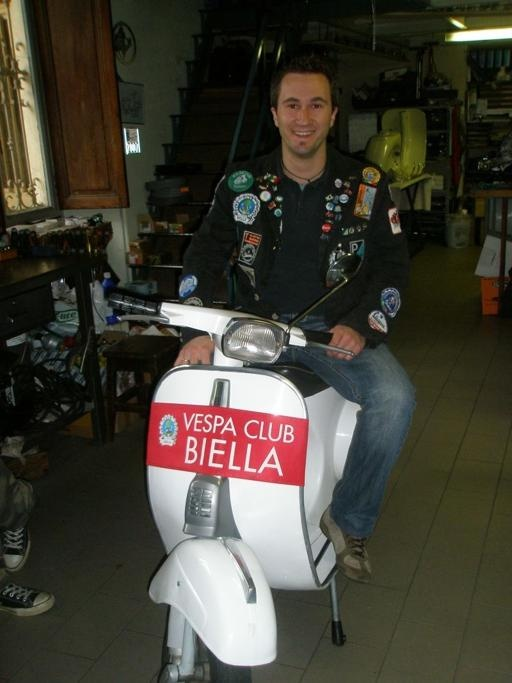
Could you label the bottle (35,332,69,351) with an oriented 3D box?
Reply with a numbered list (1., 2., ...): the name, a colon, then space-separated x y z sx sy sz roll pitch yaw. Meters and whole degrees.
1. bottle: -1.110 -0.007 2.973 0.191 0.113 0.098 -4 -7 2
